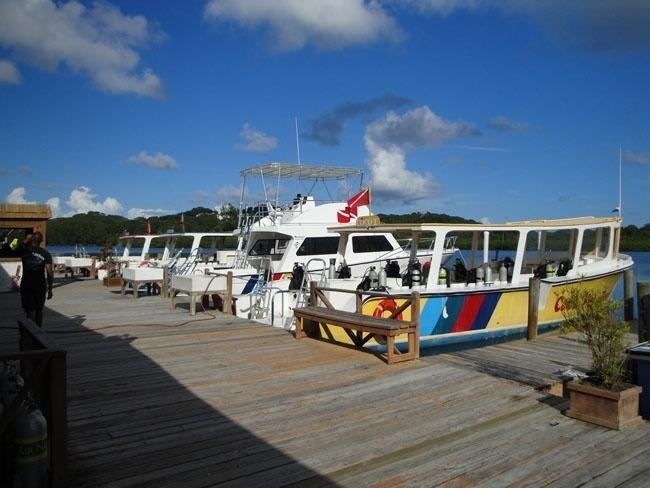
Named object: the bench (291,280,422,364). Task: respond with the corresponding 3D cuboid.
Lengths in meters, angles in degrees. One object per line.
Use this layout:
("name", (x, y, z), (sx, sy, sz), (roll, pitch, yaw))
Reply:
("bench", (0.409, 1.373, 7.590), (0.698, 1.087, 2.683), (2, -3, -40))

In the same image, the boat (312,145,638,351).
("boat", (4.615, 0.731, 13.245), (11.358, 4.506, 3.917), (-2, 2, -25))

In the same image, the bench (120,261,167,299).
("bench", (-6.333, 1.371, 14.543), (1.049, 0.882, 1.878), (3, -4, -36))

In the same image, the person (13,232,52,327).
("person", (-5.334, 0.664, 7.642), (0.522, 1.951, 1.108), (4, -1, -34))

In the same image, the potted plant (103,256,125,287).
("potted plant", (-9.742, 1.349, 19.029), (0.665, 1.108, 1.219), (0, -1, -33))

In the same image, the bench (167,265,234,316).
("bench", (-3.336, 1.289, 11.289), (1.663, 1.192, 1.042), (3, -1, -7))
